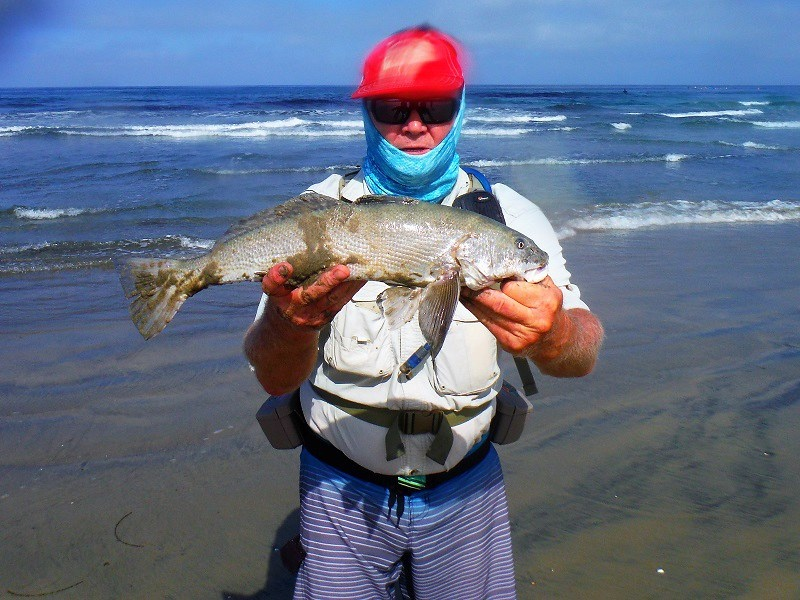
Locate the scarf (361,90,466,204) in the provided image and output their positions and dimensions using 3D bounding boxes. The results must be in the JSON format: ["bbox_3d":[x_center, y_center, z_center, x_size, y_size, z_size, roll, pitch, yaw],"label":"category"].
[{"bbox_3d":[0.069,-1.062,4.334,0.664,0.527,0.804,0,21,1],"label":"scarf"}]
